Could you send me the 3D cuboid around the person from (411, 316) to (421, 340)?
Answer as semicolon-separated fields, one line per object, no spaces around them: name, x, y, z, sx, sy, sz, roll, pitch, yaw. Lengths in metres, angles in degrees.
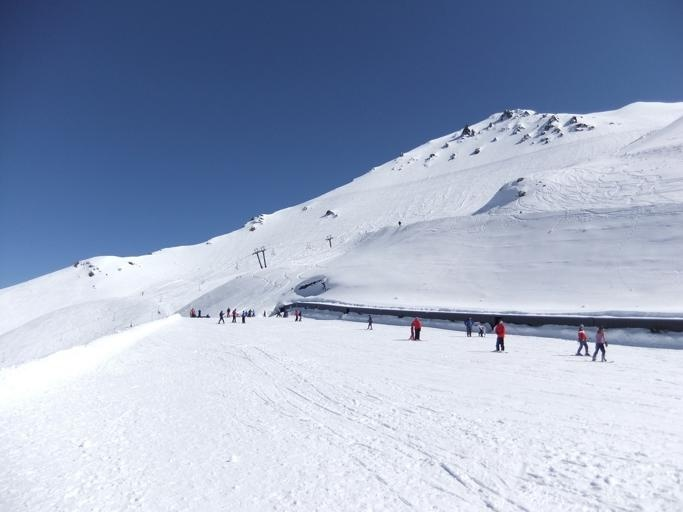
person;3.264;3.154;24.379;0.412;0.888;0.896;-4;2;5

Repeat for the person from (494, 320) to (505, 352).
person;5.965;3.008;20.895;0.359;1.101;0.713;-4;2;13

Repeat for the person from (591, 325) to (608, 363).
person;8.935;2.968;19.291;0.449;1.212;1.077;-4;2;22
